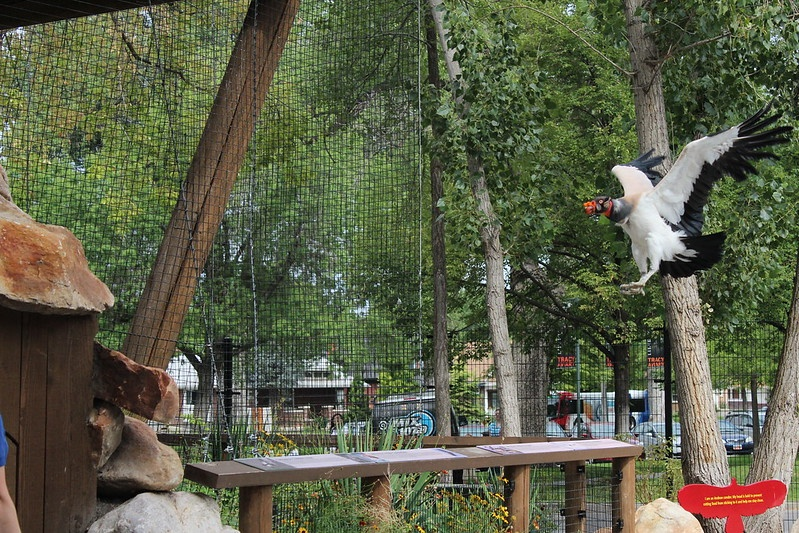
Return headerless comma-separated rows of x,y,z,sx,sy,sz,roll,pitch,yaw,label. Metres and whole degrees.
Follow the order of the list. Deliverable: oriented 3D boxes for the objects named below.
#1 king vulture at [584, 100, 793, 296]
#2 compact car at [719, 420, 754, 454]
3.562,-0.744,19.219,2.195,2.043,1.080,-5,-10,18,king vulture
6.882,3.493,31.182,0.590,0.724,4.234,-4,-10,11,compact car
